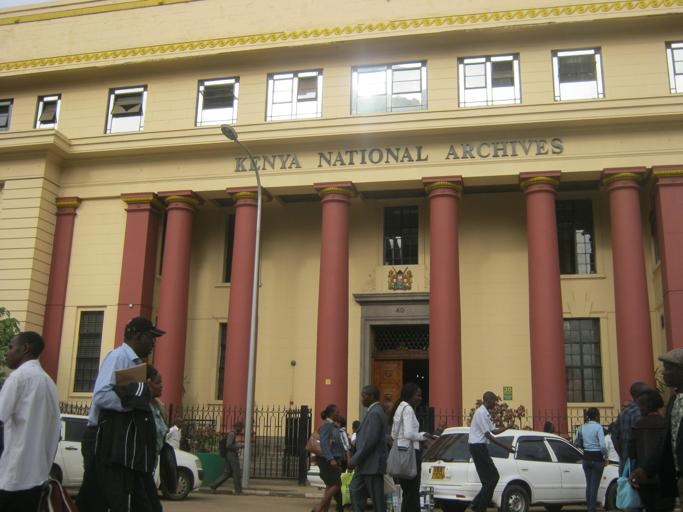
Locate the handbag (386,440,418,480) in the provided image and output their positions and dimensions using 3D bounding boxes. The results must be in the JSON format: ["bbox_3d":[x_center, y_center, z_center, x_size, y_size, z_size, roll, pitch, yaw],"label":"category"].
[{"bbox_3d":[1.002,3.300,9.767,0.636,0.823,0.382,3,-19,-3],"label":"handbag"}]

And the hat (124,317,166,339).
[{"bbox_3d":[-2.312,0.828,7.135,0.462,0.241,0.293,0,-6,-24],"label":"hat"}]

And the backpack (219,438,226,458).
[{"bbox_3d":[-3.271,5.322,16.831,0.204,0.481,0.330,3,-14,-10],"label":"backpack"}]
